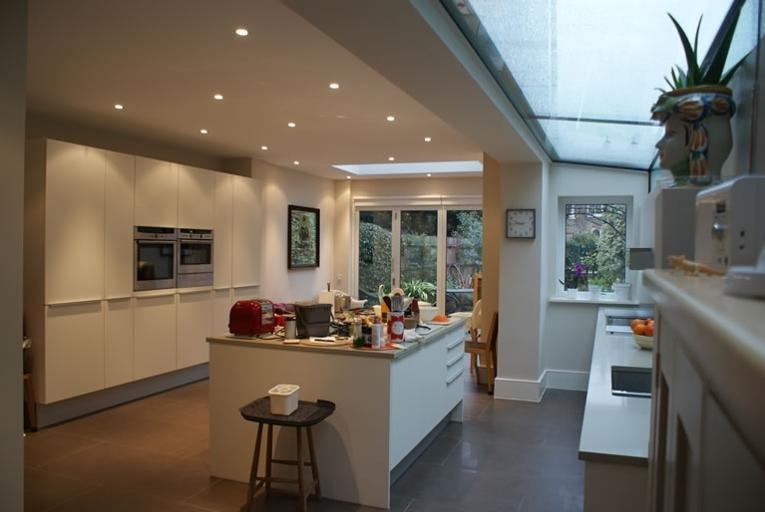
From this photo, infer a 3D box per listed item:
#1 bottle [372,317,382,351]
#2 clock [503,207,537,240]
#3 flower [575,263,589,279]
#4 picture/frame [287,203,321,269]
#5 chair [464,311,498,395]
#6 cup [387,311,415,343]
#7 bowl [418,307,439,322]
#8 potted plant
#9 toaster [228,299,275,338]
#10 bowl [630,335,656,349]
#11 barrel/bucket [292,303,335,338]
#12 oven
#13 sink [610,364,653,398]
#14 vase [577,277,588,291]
[{"bbox_3d":[-0.035,0.550,3.789,0.082,0.193,0.181,0,1,4],"label":"bottle"},{"bbox_3d":[1.512,-0.363,5.793,0.319,0.306,0.033,-8,-4,15],"label":"clock"},{"bbox_3d":[2.392,0.175,6.382,0.155,0.184,0.178,-1,3,4],"label":"flower"},{"bbox_3d":[-1.329,-0.347,8.805,0.088,1.159,1.112,-2,-3,23],"label":"picture/frame"},{"bbox_3d":[1.168,1.110,6.339,0.372,0.931,0.807,0,1,9],"label":"chair"},{"bbox_3d":[0.169,0.537,4.064,0.252,0.254,0.140,0,-3,3],"label":"cup"},{"bbox_3d":[0.404,0.500,4.684,0.136,0.085,0.138,0,4,0],"label":"bowl"},{"bbox_3d":[1.423,-0.739,2.413,0.354,0.879,0.538,0,1,27],"label":"potted plant"},{"bbox_3d":[-1.012,0.468,4.140,0.268,0.267,0.374,1,0,12],"label":"toaster"},{"bbox_3d":[1.854,0.616,3.820,0.094,0.110,0.326,0,0,9],"label":"bowl"},{"bbox_3d":[-0.503,0.459,4.012,0.235,0.267,0.290,-3,-4,30],"label":"barrel/bucket"},{"bbox_3d":[-2.405,0.034,6.019,0.299,0.503,0.778,-1,-3,22],"label":"oven"},{"bbox_3d":[1.489,0.760,3.195,0.215,0.157,0.256,0,1,23],"label":"sink"},{"bbox_3d":[2.408,0.335,6.396,0.136,0.251,0.137,1,-3,16],"label":"vase"}]
